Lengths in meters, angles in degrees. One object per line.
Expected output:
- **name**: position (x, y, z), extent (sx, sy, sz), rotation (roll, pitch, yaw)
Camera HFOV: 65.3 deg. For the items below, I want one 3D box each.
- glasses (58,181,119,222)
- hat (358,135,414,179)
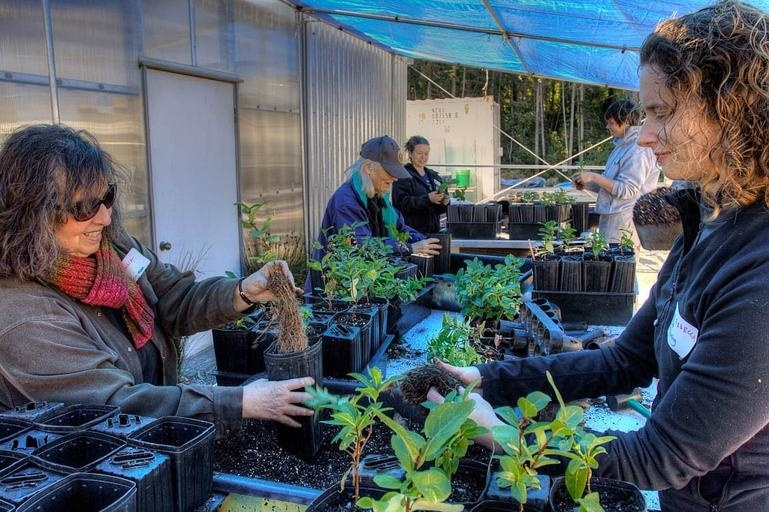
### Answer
- **glasses**: position (-1.130, -0.216, 2.318), extent (0.156, 0.054, 0.143), rotation (10, 34, 21)
- **hat**: position (-0.003, -0.709, 4.368), extent (0.357, 0.211, 0.238), rotation (26, 26, 4)
